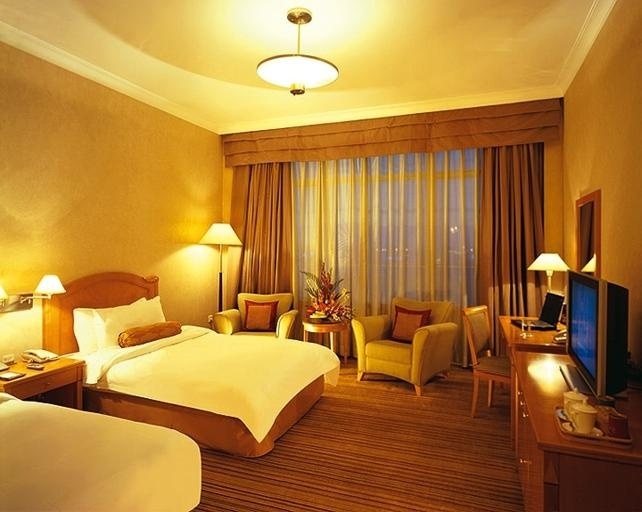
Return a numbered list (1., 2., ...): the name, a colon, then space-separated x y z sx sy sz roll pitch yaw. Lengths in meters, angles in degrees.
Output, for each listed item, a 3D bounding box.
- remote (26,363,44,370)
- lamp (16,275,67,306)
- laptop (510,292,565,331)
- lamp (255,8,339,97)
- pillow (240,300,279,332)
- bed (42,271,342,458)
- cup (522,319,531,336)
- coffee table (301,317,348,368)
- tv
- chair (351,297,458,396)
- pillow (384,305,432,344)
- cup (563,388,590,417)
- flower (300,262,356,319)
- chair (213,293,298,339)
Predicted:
1. remote: -2.428 0.929 4.094 0.096 0.038 0.066 2 0 7
2. lamp: -2.550 0.305 4.410 0.322 0.236 0.234 -4 -2 8
3. laptop: 2.097 0.542 4.556 0.515 0.370 0.434 3 3 13
4. lamp: -0.199 -1.763 4.178 0.655 0.632 0.560 -7 10 -39
5. pillow: -0.777 0.777 6.174 0.324 0.341 0.119 1 -31 2
6. bed: -1.313 0.916 4.834 2.599 1.378 1.730 2 4 29
7. cup: 1.912 0.675 4.508 0.061 0.162 0.064 -1 -6 0
8. coffee table: 0.031 1.074 6.022 0.497 0.638 0.523 -2 7 2
9. tv: 1.849 0.459 3.185 0.245 0.708 0.807 0 4 16
10. chair: 0.986 1.000 5.631 1.066 1.019 0.928 2 1 32
11. pillow: 1.006 0.792 5.598 0.383 0.401 0.122 5 -17 45
12. cup: 1.434 0.841 2.768 0.111 0.160 0.152 0 -6 12
13. flower: 0.078 0.445 5.989 0.495 0.637 0.582 3 3 -10
14. chair: -0.796 0.945 6.159 0.921 0.951 0.807 1 -5 3
